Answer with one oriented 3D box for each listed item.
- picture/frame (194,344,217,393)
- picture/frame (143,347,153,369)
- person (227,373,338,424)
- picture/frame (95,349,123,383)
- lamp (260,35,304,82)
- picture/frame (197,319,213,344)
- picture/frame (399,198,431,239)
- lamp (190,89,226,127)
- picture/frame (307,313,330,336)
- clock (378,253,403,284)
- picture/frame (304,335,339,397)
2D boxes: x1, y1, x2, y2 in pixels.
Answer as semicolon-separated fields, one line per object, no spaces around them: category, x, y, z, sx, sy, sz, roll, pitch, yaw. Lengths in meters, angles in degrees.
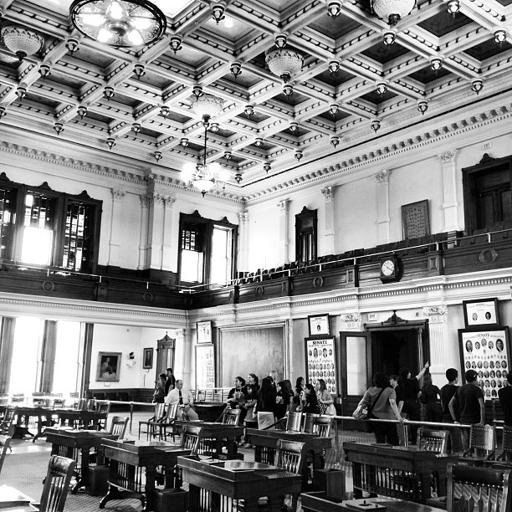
picture/frame;-1.594;3.579;16.531;0.060;1.815;1.272;12;-19;-39
picture/frame;-4.006;3.799;19.283;0.077;1.064;0.761;5;-8;-44
person;0.507;2.648;9.637;1.599;0.765;0.601;7;-53;9
picture/frame;-5.307;3.941;18.502;0.127;1.261;1.102;-15;-19;41
lamp;0.571;-4.038;10.468;0.726;0.802;1.272;0;-11;-3
picture/frame;-1.614;2.383;16.530;0.100;0.711;0.706;9;-13;-39
picture/frame;4.185;-0.981;13.600;0.103;1.403;0.975;8;-10;-38
lamp;-1.263;-3.611;12.939;0.781;0.676;0.820;5;-1;4
picture/frame;1.578;1.755;13.180;0.093;0.550;0.684;9;-15;-40
clock;3.002;0.294;11.566;0.221;0.738;0.601;7;-9;-34
picture/frame;1.562;2.560;12.161;0.111;1.545;1.070;9;-14;-35
